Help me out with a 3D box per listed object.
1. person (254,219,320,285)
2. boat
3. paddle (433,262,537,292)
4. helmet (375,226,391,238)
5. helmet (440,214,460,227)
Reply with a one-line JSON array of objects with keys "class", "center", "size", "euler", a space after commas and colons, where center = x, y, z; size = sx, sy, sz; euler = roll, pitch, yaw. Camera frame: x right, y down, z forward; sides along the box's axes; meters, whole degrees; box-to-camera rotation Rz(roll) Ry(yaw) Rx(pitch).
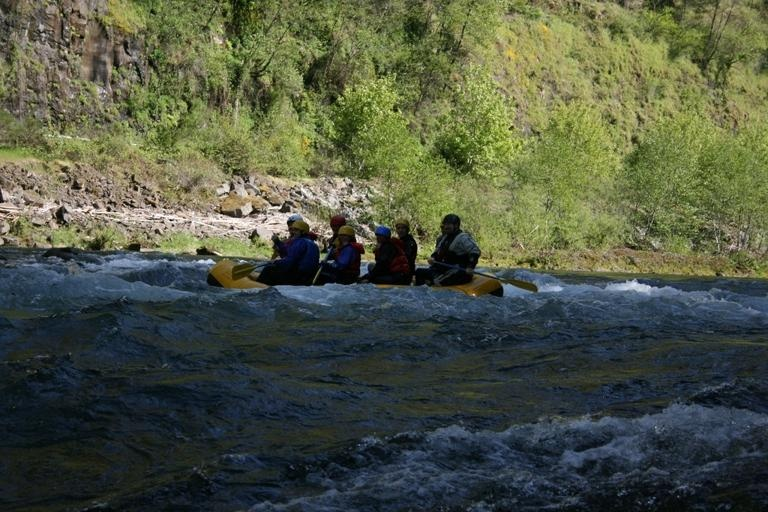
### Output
[{"class": "person", "center": [-1.907, -0.082, 15.610], "size": [1.286, 0.901, 1.134], "euler": [9, 4, 27]}, {"class": "boat", "center": [-0.566, 0.559, 15.367], "size": [4.442, 0.506, 1.899], "euler": [3, -6, -8]}, {"class": "paddle", "center": [2.374, 0.504, 17.852], "size": [2.232, 0.203, 0.102], "euler": [14, 32, -7]}, {"class": "helmet", "center": [-0.042, -0.527, 16.196], "size": [0.336, 0.222, 0.225], "euler": [24, 6, 3]}, {"class": "helmet", "center": [1.491, -0.803, 16.684], "size": [0.400, 0.254, 0.279], "euler": [7, -7, -8]}]
